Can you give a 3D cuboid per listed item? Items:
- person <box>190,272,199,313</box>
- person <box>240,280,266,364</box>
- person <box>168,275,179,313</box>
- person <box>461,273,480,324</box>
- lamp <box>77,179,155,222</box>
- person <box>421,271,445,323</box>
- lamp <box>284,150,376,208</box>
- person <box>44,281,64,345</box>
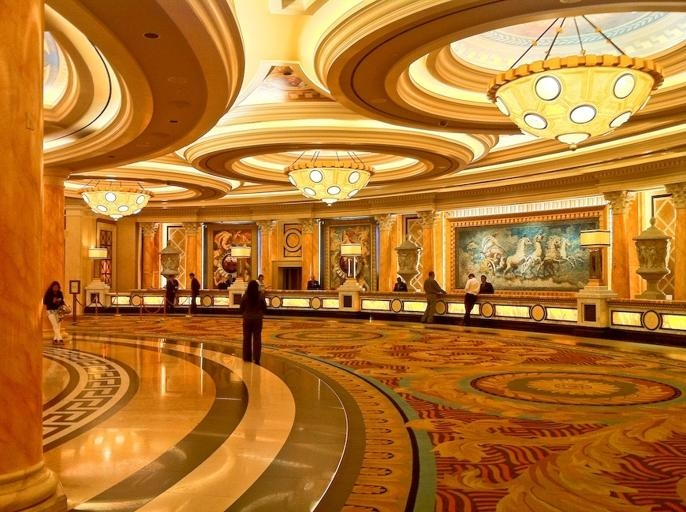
[{"bbox_3d":[-5.943,1.482,19.005,0.359,1.581,0.726,1,-2,-17],"label":"person"},{"bbox_3d":[-1.670,1.171,8.795,0.471,1.458,0.647,1,-1,-11],"label":"person"},{"bbox_3d":[-6.935,1.515,19.320,0.369,1.456,0.960,1,-2,-12],"label":"person"},{"bbox_3d":[3.877,1.250,14.386,0.441,1.455,0.469,0,-1,12],"label":"person"},{"bbox_3d":[-7.905,-1.733,16.829,2.640,0.991,2.430,-2,-5,13],"label":"lamp"},{"bbox_3d":[2.866,1.288,15.158,0.718,1.602,0.641,0,-1,8],"label":"person"},{"bbox_3d":[-0.482,-1.997,13.409,2.513,0.823,2.371,-1,-3,-31],"label":"lamp"},{"bbox_3d":[-6.612,1.262,10.855,0.372,1.392,0.624,1,-2,-31],"label":"person"}]
